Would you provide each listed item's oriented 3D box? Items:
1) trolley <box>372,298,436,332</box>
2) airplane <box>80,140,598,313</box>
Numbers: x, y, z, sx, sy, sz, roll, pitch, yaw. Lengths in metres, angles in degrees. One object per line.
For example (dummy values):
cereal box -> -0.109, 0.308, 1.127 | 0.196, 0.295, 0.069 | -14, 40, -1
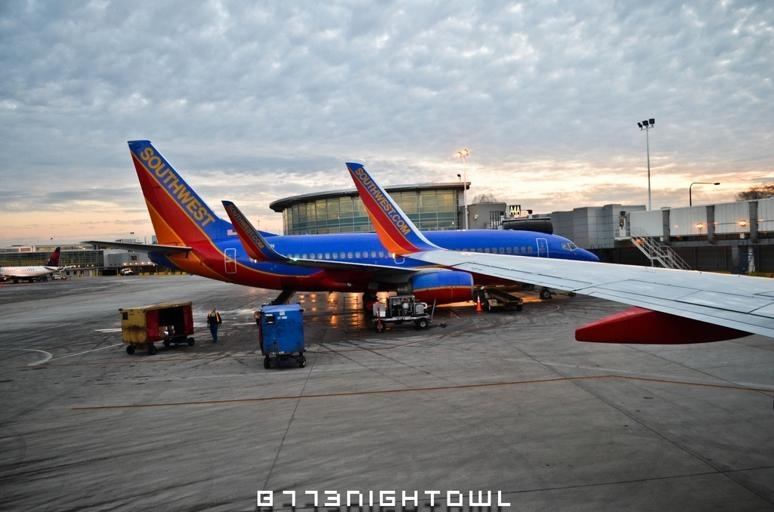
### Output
trolley -> 0.651, 2.948, 26.941 | 3.465, 1.096, 1.713 | -1, -1, -2
airplane -> -2.587, -0.181, 30.854 | 22.503, 4.845, 16.397 | -1, 4, -8
